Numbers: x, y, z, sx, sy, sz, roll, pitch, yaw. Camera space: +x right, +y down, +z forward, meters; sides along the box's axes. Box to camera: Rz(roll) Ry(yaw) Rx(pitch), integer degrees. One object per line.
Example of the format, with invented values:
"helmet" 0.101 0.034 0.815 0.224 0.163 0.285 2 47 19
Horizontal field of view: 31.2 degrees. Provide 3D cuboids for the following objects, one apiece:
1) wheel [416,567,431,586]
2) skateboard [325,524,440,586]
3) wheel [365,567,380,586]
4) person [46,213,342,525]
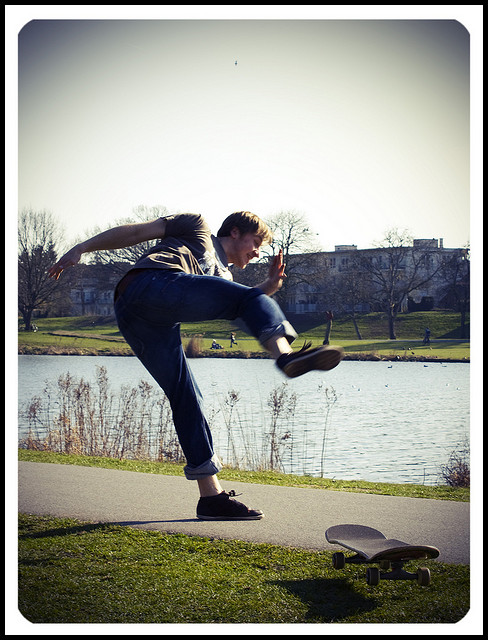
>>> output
"wheel" 0.993 1.401 4.798 0.066 0.122 0.141 -1 2 12
"skateboard" 0.752 1.332 4.993 0.515 0.245 0.674 -1 2 -11
"wheel" 0.705 1.389 4.738 0.068 0.110 0.077 -1 2 10
"person" -0.131 0.333 5.133 1.279 1.964 1.186 -1 2 17
